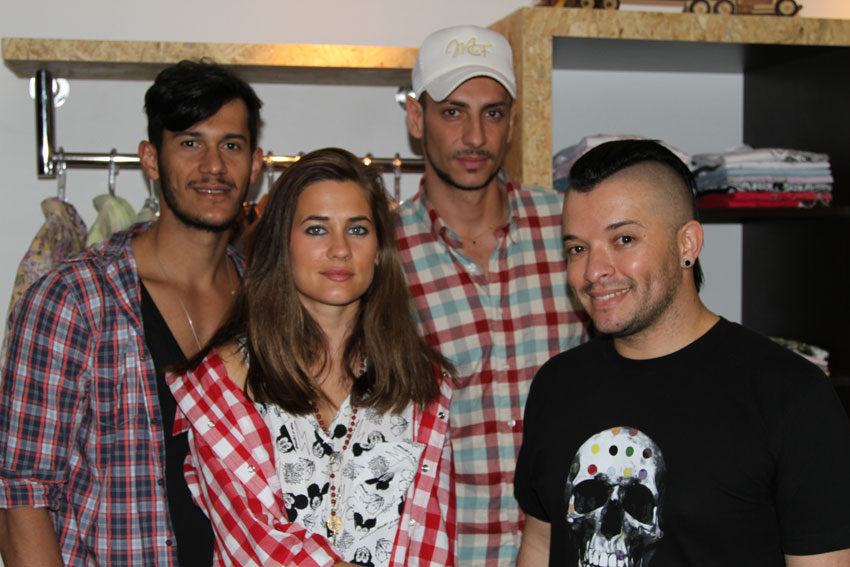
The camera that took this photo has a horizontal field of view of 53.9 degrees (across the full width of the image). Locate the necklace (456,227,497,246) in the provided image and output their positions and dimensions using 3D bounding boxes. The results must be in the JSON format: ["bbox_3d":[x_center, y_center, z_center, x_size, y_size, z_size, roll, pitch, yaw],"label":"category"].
[{"bbox_3d":[0.195,-0.169,3.132,0.129,0.076,0.035,-4,11,-15],"label":"necklace"}]

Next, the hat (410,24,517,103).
[{"bbox_3d":[0.155,-0.844,3.161,0.363,0.255,0.496,-6,15,-15],"label":"hat"}]

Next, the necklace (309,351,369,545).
[{"bbox_3d":[-0.282,0.562,2.720,0.163,0.587,0.025,-2,-29,9],"label":"necklace"}]

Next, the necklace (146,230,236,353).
[{"bbox_3d":[-0.873,0.099,2.923,0.095,0.253,0.433,8,-22,25],"label":"necklace"}]
